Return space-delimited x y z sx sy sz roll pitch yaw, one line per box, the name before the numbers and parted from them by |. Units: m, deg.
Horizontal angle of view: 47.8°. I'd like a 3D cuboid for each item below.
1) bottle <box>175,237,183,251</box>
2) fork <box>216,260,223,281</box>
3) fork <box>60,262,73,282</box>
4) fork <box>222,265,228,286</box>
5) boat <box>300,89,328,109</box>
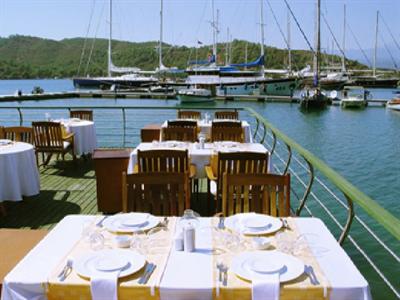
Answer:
bottle | -0.141 0.661 3.220 0.058 0.126 0.077 0 6 2
fork | 0.131 0.778 2.909 0.043 0.084 0.123 -1 12 2
fork | -0.869 0.789 2.939 0.062 0.057 0.145 0 13 5
fork | 0.160 0.804 2.881 0.035 0.063 0.131 -1 13 3
boat | 10.623 -4.792 42.686 2.145 1.734 2.225 -2 12 -4
